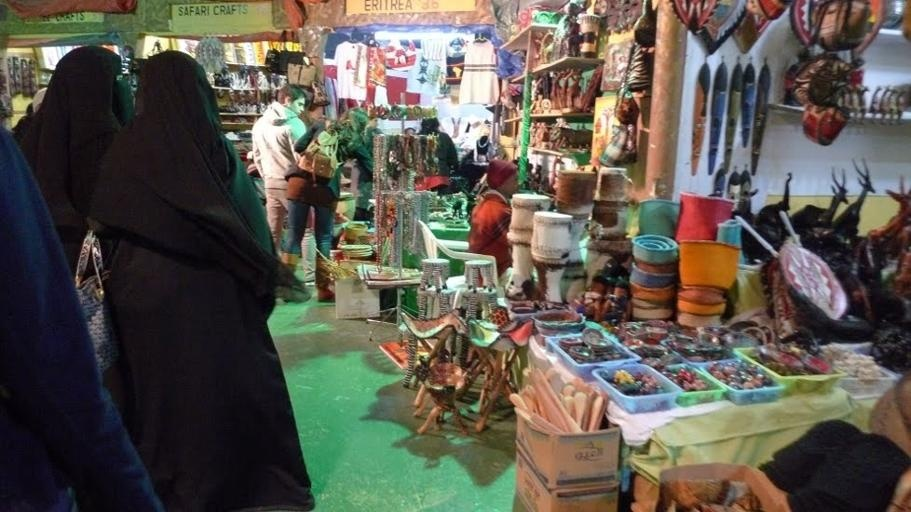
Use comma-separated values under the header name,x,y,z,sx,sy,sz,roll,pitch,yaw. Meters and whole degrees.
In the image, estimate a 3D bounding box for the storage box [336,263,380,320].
name,x,y,z,sx,sy,sz,roll,pitch,yaw
storage box,-0.924,0.354,5.702,0.489,0.555,0.341,-3,-5,8

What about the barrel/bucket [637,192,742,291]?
name,x,y,z,sx,sy,sz,roll,pitch,yaw
barrel/bucket,1.567,-0.094,3.703,0.481,0.612,0.423,2,13,17

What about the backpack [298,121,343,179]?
name,x,y,z,sx,sy,sz,roll,pitch,yaw
backpack,-1.263,-1.027,5.687,0.458,0.506,0.309,8,-13,-10

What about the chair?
name,x,y,z,sx,sy,sz,roll,pitch,yaw
chair,-0.034,-0.015,4.270,0.625,0.724,0.571,-8,14,-6

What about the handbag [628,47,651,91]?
name,x,y,z,sx,sy,sz,roll,pitch,yaw
handbag,1.424,-1.449,4.409,0.249,0.305,0.103,11,4,39
